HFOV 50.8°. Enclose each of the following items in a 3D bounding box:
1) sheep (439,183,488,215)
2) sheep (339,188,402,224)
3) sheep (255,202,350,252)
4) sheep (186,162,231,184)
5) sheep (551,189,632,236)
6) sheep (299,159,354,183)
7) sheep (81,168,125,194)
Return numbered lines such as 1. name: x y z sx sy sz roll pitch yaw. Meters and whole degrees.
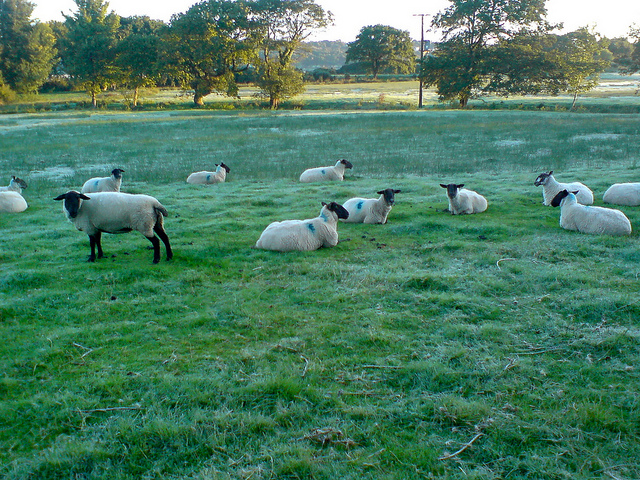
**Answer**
1. sheep: 4.457 -1.298 20.855 1.354 0.939 0.588 -7 15 -28
2. sheep: 1.519 -0.951 20.950 2.079 1.110 0.986 -2 2 37
3. sheep: -0.509 -0.218 18.651 2.249 1.035 1.169 -11 21 -25
4. sheep: -4.361 -2.612 26.630 1.718 0.720 1.117 -6 14 -23
5. sheep: 7.685 -0.718 19.106 0.989 1.185 1.997 -8 20 -44
6. sheep: 0.230 -2.703 26.715 2.051 1.007 0.882 -8 23 -12
7. sheep: -7.203 -1.957 22.433 1.266 0.764 0.820 3 13 16
